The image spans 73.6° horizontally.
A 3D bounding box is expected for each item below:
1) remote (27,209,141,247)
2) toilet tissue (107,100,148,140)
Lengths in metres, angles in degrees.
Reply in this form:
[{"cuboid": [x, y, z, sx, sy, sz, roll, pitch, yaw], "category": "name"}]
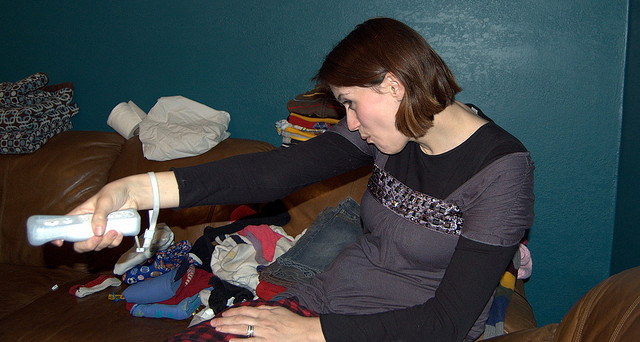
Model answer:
[{"cuboid": [-1.160, 0.263, 2.100, 0.596, 0.151, 0.198, -1, 27, -10], "category": "remote"}, {"cuboid": [-1.605, -0.430, 3.619, 0.275, 0.320, 0.270, 30, 41, -3], "category": "toilet tissue"}]
